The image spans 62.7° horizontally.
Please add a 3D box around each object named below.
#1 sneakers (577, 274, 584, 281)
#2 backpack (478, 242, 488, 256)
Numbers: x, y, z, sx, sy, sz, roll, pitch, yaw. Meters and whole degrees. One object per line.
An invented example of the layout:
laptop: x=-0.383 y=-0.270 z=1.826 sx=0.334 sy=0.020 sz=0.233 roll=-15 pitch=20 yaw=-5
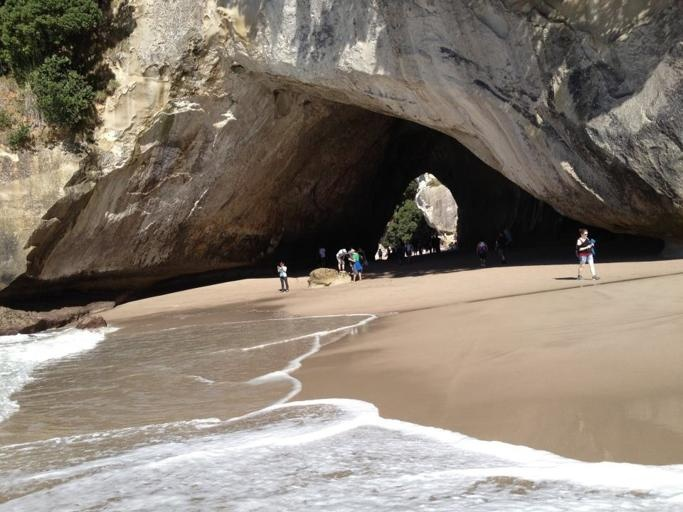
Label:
sneakers: x=5.075 y=0.443 z=11.906 sx=0.124 sy=0.056 sz=0.139 roll=4 pitch=13 yaw=37
backpack: x=4.206 y=-0.216 z=16.722 sx=0.319 sy=0.364 sz=0.206 roll=-11 pitch=22 yaw=23
